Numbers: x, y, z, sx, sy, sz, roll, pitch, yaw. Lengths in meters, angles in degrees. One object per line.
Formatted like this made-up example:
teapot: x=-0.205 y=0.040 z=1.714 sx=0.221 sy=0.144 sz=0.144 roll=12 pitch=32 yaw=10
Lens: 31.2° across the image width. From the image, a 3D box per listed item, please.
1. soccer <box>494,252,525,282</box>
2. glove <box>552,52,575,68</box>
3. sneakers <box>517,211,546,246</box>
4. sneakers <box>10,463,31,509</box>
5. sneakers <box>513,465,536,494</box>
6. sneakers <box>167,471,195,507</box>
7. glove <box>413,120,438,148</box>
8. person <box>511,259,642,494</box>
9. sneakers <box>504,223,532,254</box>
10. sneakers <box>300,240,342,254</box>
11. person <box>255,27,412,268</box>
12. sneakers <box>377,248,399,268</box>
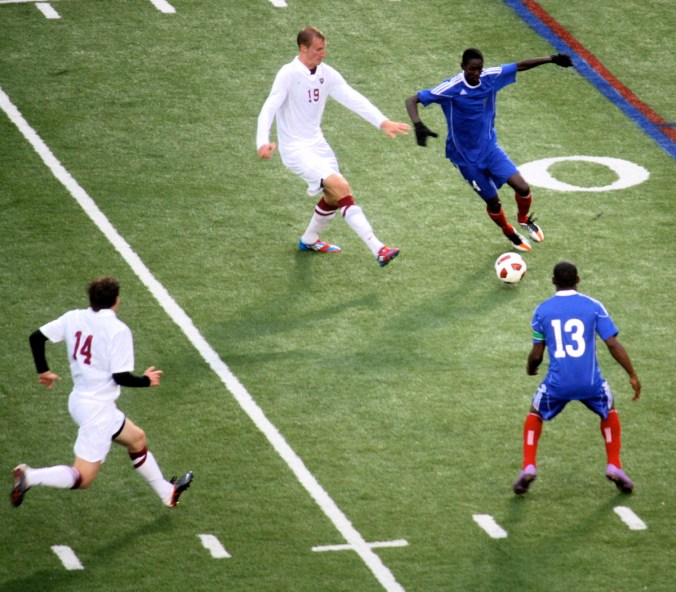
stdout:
soccer: x=1.627 y=-0.257 z=11.451 sx=0.283 sy=0.294 sz=0.271 roll=13 pitch=-8 yaw=0
glove: x=2.084 y=-2.214 z=11.368 sx=0.200 sy=0.122 sz=0.325 roll=15 pitch=21 yaw=8
sneakers: x=1.918 y=-0.684 z=12.111 sx=0.176 sy=0.149 sz=0.421 roll=31 pitch=10 yaw=-22
sneakers: x=-2.214 y=1.299 z=8.327 sx=0.119 sy=0.320 sz=0.156 roll=8 pitch=5 yaw=-41
sneakers: x=1.408 y=1.401 z=9.157 sx=0.127 sy=0.296 sz=0.129 roll=15 pitch=22 yaw=5
sneakers: x=-1.175 y=1.443 z=9.143 sx=0.166 sy=0.298 sz=0.113 roll=26 pitch=-7 yaw=3
glove: x=0.760 y=-1.450 z=10.948 sx=0.164 sy=0.210 sz=0.337 roll=10 pitch=21 yaw=-5
person: x=1.827 y=0.592 z=9.131 sx=0.959 sy=1.454 sz=0.754 roll=20 pitch=23 yaw=17
sneakers: x=1.774 y=-0.547 z=11.980 sx=0.381 sy=0.147 sz=0.151 roll=42 pitch=2 yaw=-2
sneakers: x=-0.173 y=-0.488 z=11.943 sx=0.421 sy=0.160 sz=0.137 roll=-3 pitch=30 yaw=-9
person: x=-0.081 y=-1.377 z=11.398 sx=1.346 sy=2.139 sz=1.048 roll=12 pitch=22 yaw=0
sneakers: x=0.452 y=-0.365 z=11.106 sx=0.119 sy=0.102 sz=0.263 roll=49 pitch=-17 yaw=-7
